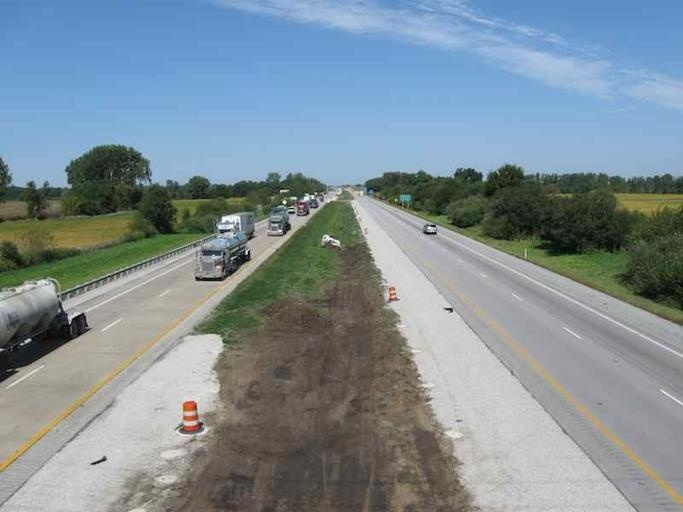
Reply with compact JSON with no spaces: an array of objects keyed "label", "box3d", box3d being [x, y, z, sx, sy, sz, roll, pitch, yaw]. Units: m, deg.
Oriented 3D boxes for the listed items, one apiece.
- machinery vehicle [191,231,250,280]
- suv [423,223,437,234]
[{"label":"machinery vehicle","box3d":[-10.056,-0.212,44.154,2.180,2.618,7.194,-2,6,7]},{"label":"suv","box3d":[12.075,-3.709,72.085,1.587,1.348,2.170,0,14,3]}]
